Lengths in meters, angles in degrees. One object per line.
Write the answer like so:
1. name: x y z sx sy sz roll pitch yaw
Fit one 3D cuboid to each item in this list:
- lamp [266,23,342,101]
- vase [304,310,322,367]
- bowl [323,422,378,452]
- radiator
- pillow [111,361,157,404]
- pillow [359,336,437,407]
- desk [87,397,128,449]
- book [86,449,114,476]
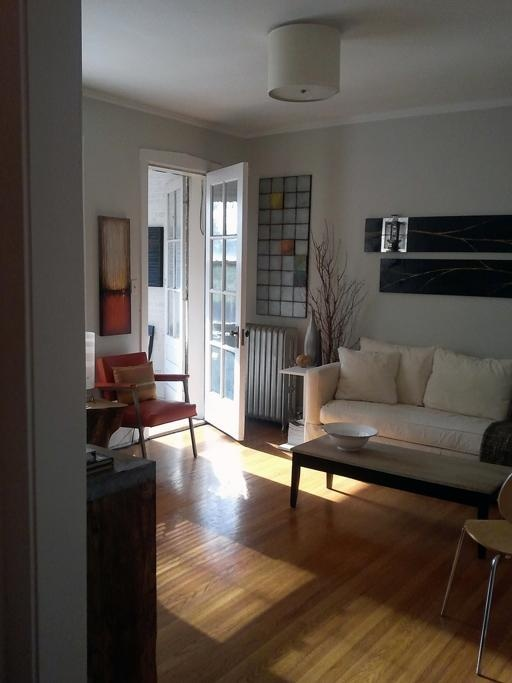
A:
1. lamp: 0.272 -1.576 2.909 0.395 0.333 0.419 6 13 25
2. vase: 0.487 -0.003 4.556 0.121 0.429 0.335 3 5 18
3. bowl: 0.551 0.555 3.072 0.187 0.082 0.198 0 7 0
4. radiator: 0.161 0.333 4.999 0.259 0.985 0.852 -6 9 -44
5. pillow: -0.936 0.310 3.868 0.098 0.235 0.294 -1 2 35
6. pillow: 1.149 0.258 4.134 0.445 0.361 0.162 7 -17 40
7. desk: -0.949 0.521 3.174 0.231 0.267 0.260 10 2 8
8. book: -0.400 0.303 1.310 0.059 0.032 0.058 -1 3 -41
